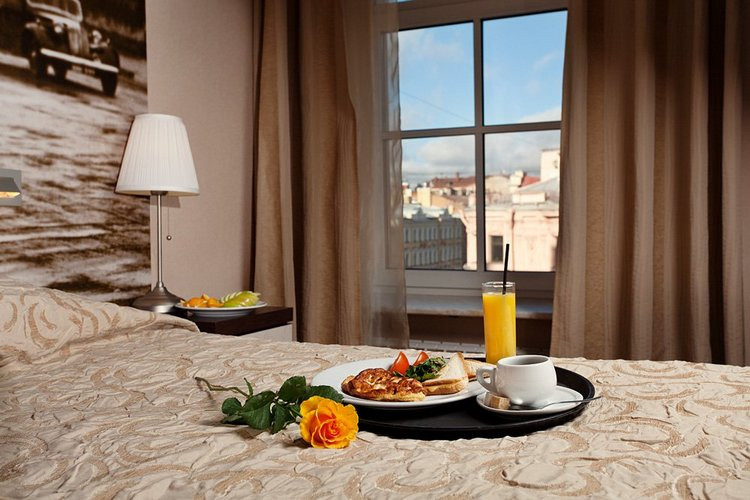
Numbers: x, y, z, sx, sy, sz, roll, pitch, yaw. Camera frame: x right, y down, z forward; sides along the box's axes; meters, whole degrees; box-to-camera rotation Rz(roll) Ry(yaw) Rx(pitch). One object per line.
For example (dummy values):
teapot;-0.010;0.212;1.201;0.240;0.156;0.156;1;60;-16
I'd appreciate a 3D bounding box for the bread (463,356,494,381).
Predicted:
bread;0.245;0.286;1.371;0.065;0.017;0.066;7;10;39

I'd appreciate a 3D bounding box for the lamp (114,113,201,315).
lamp;-0.985;-0.183;2.554;0.343;0.839;0.499;1;15;14

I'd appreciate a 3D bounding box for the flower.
flower;-0.201;0.322;1.155;0.325;0.100;0.189;9;16;17

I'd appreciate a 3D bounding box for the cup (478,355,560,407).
cup;0.304;0.287;1.234;0.177;0.090;0.123;-5;-3;4
